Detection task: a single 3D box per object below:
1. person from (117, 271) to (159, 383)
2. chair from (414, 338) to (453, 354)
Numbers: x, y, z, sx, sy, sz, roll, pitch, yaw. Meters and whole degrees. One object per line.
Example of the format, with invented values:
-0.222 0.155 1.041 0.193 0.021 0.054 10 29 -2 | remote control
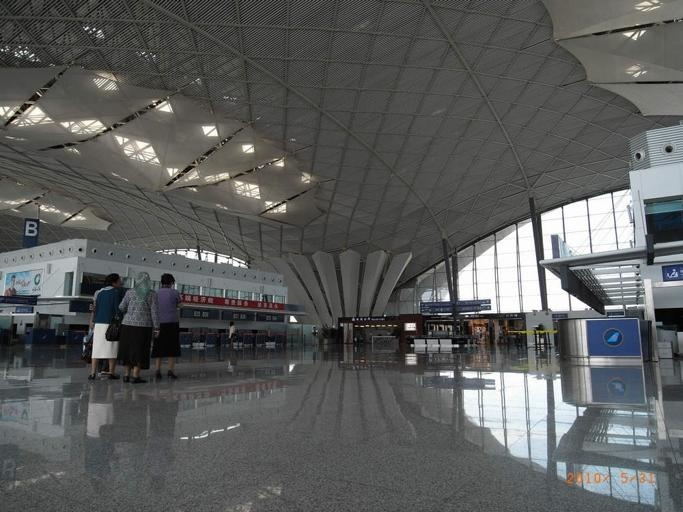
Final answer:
-4.274 1.445 9.391 0.708 2.298 0.706 5 -12 -32 | person
7.194 6.697 33.826 3.029 0.830 1.898 1 -15 -2 | chair
